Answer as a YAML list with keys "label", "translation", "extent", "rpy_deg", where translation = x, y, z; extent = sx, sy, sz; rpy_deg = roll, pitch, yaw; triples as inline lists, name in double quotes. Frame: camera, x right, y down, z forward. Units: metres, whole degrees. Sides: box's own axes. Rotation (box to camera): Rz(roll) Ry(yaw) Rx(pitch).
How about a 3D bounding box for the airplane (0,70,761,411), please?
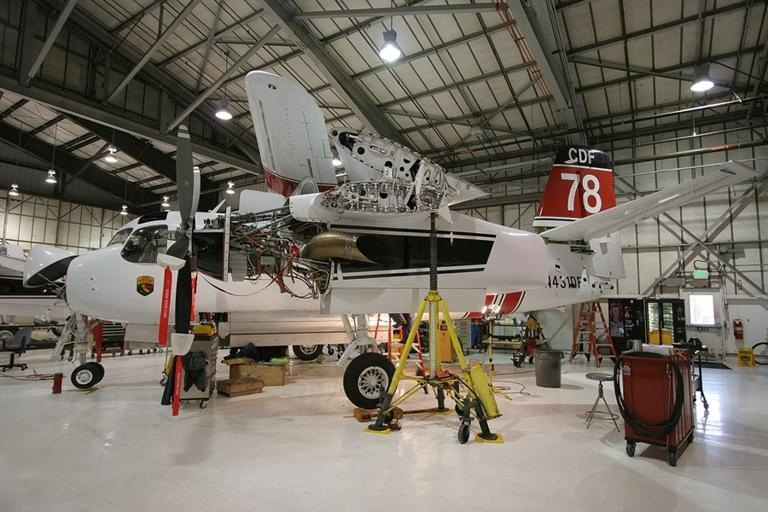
- label: "airplane"
  translation: [-0.545, -0.287, 11.880]
  extent: [10.961, 4.234, 12.331]
  rpy_deg: [-1, -5, -8]

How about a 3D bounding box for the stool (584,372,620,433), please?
- label: "stool"
  translation: [4.568, 3.086, 10.710]
  extent: [0.818, 1.046, 0.814]
  rpy_deg: [2, -4, -34]

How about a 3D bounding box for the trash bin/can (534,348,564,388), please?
- label: "trash bin/can"
  translation: [4.322, 3.009, 13.552]
  extent: [0.902, 0.944, 0.885]
  rpy_deg: [0, -5, 14]
